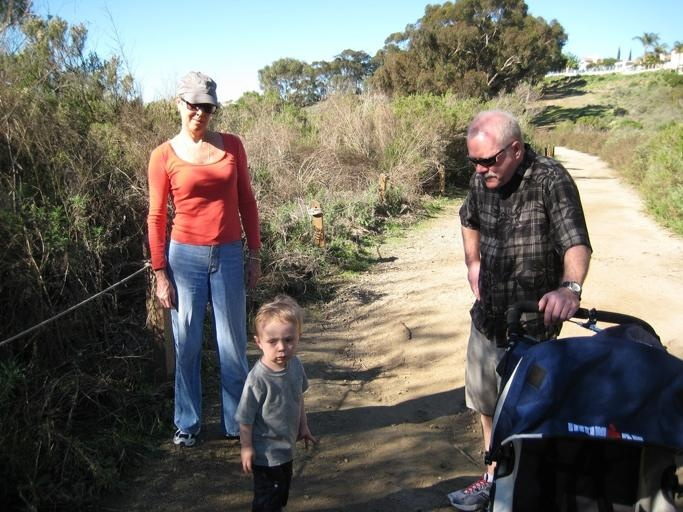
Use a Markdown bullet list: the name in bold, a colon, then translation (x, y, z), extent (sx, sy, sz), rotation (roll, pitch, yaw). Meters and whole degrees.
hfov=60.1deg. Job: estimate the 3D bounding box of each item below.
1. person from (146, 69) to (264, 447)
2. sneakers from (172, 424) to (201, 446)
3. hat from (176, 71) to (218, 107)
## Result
- **person**: translation (-1.070, 0.061, 4.459), extent (0.706, 2.797, 0.390), rotation (-4, 13, -17)
- **sneakers**: translation (-1.220, 1.442, 4.733), extent (0.232, 0.120, 0.117), rotation (5, -31, -8)
- **hat**: translation (-1.016, -1.242, 4.326), extent (0.307, 0.229, 0.376), rotation (-6, 23, -38)
